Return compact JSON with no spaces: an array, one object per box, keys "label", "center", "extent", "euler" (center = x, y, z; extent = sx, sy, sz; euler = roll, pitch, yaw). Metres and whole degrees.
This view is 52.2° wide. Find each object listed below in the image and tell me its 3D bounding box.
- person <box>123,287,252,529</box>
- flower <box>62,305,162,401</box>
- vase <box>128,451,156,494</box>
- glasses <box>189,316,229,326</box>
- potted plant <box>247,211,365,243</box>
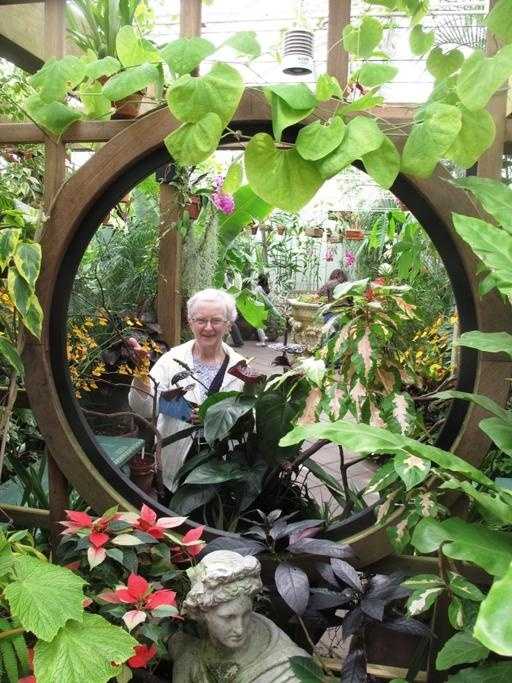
[{"label":"person","center":[-0.313,0.262,2.252],"extent":[0.518,0.896,0.939],"euler":[-2,15,-6]},{"label":"flower","center":[-0.754,-0.028,2.709],"extent":[0.539,0.318,0.537],"euler":[0,57,0]},{"label":"vase","center":[-0.519,0.597,2.368],"extent":[0.103,0.238,0.306],"euler":[-3,15,-11]},{"label":"glasses","center":[-0.211,-0.092,2.345],"extent":[0.161,0.045,0.086],"euler":[-1,15,-4]},{"label":"potted plant","center":[0.680,-1.515,7.184],"extent":[1.450,0.378,1.015],"euler":[-1,9,0]}]
